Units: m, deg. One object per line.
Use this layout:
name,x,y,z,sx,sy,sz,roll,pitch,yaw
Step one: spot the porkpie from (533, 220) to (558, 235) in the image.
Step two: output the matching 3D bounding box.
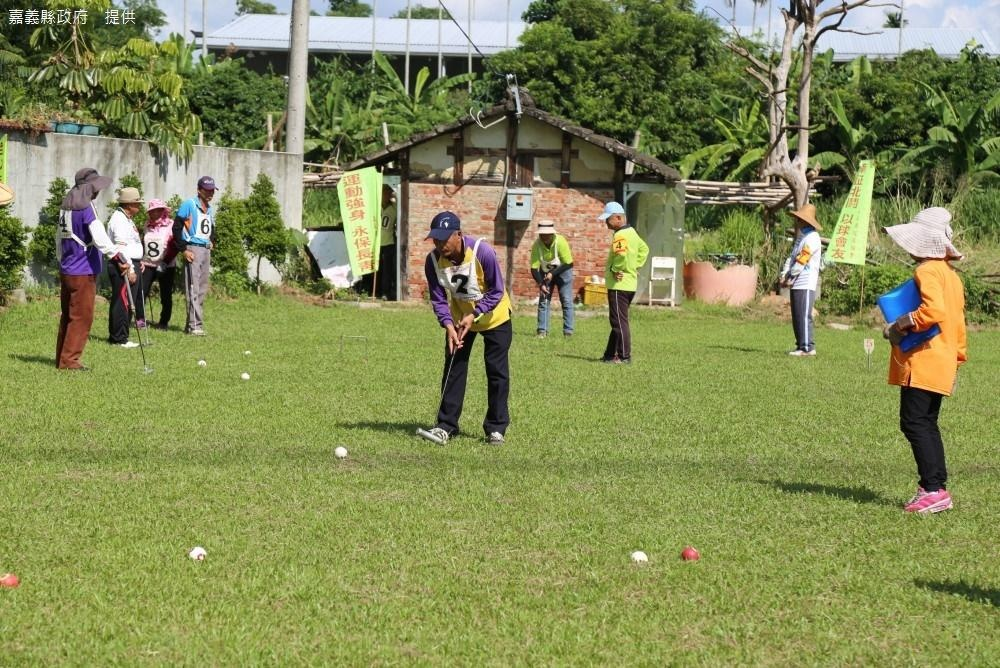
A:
porkpie,0.889,-1.906,21.135,0.449,0.273,0.500,3,0,40

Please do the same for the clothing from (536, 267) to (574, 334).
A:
clothing,0.944,-0.666,21.113,0.685,1.752,0.547,8,-35,-11

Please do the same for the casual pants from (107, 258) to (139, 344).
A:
casual pants,-5.807,-0.550,17.959,0.476,1.657,0.436,8,-28,-38

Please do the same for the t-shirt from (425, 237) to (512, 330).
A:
t-shirt,-0.397,-0.493,13.043,0.826,1.116,0.795,-6,25,11

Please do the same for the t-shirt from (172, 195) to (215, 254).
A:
t-shirt,-4.950,-1.816,18.979,0.437,0.865,0.928,8,6,29

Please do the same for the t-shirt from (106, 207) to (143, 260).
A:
t-shirt,-5.755,-1.506,17.778,0.440,0.741,0.832,-13,25,-10

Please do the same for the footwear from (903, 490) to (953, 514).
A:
footwear,4.268,1.661,11.585,0.534,0.264,0.197,-2,1,-1

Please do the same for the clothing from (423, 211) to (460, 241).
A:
clothing,-0.593,-1.169,12.676,0.237,0.218,0.391,5,15,17

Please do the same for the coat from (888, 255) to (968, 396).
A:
coat,4.376,-0.083,11.733,0.919,1.398,0.632,14,-3,-34

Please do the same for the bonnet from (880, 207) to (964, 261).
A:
bonnet,4.274,-0.982,11.642,0.611,0.317,0.541,-4,18,-18

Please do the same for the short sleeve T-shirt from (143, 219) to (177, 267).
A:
short sleeve T-shirt,-5.566,-1.473,18.981,0.703,0.753,0.386,3,0,6

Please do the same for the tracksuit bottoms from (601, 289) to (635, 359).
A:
tracksuit bottoms,1.853,-0.152,18.116,0.430,1.092,1.016,3,5,6

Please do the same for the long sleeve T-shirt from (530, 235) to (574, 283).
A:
long sleeve T-shirt,0.932,-1.380,21.320,0.683,0.877,0.844,1,3,19

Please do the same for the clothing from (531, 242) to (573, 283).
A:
clothing,0.928,-1.305,21.108,0.706,0.999,0.953,2,7,29

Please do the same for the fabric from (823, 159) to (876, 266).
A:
fabric,7.202,-2.482,23.817,0.746,2.195,1.713,4,5,19

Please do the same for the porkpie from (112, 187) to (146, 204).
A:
porkpie,-5.726,-2.073,17.680,0.555,0.226,0.503,1,4,41

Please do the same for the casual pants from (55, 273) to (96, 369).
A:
casual pants,-5.820,-0.163,15.862,0.482,1.265,0.363,1,4,-15

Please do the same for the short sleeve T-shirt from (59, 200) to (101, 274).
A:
short sleeve T-shirt,-5.807,-1.307,16.027,0.793,1.029,0.550,2,1,40

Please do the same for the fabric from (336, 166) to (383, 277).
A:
fabric,-3.102,-2.474,25.703,1.015,2.416,0.578,1,5,-21

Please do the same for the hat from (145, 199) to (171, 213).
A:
hat,-5.538,-2.072,18.878,0.331,0.144,0.345,-3,1,18

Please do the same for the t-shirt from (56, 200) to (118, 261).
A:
t-shirt,-5.727,-1.371,15.994,1.043,0.882,0.382,-3,-2,29
